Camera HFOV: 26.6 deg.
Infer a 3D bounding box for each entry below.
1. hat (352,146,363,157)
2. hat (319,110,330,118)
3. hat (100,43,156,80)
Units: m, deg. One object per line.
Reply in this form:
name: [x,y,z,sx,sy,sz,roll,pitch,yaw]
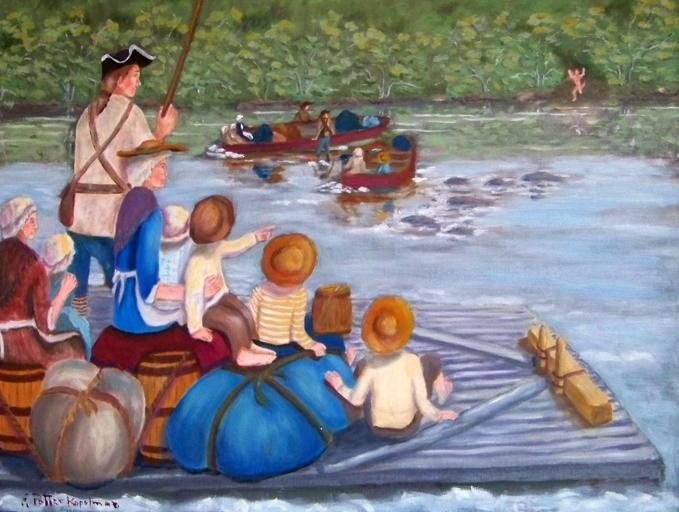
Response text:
hat: [0.200,-1.207,16.631,0.127,0.049,0.141,5,-15,3]
hat: [-0.179,-1.725,17.440,0.137,0.072,0.264,-7,8,0]
hat: [-1.840,-1.671,12.462,0.425,0.339,0.364,5,14,-9]
